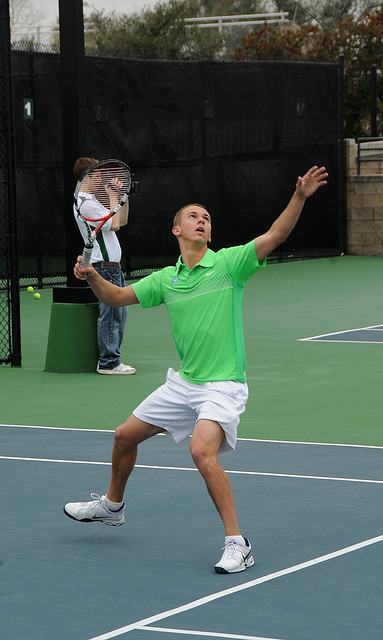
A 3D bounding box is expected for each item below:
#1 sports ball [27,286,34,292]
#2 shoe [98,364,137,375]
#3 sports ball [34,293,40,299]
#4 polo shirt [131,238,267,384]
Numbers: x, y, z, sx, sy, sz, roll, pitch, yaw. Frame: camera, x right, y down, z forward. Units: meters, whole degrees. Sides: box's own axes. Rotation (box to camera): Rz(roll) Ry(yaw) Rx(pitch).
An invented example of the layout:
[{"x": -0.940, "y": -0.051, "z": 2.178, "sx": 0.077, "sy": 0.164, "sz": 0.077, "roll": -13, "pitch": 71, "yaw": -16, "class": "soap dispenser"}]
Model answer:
[{"x": -3.912, "y": -0.762, "z": 15.816, "sx": 0.120, "sy": 0.118, "sz": 0.118, "roll": 7, "pitch": 37, "yaw": -5, "class": "sports ball"}, {"x": -0.928, "y": 0.599, "z": 8.107, "sx": 0.431, "sy": 0.169, "sz": 0.146, "roll": -2, "pitch": -3, "yaw": 14, "class": "shoe"}, {"x": -3.560, "y": -0.582, "z": 14.997, "sx": 0.122, "sy": 0.120, "sz": 0.121, "roll": -28, "pitch": -17, "yaw": -9, "class": "sports ball"}, {"x": 0.056, "y": -0.026, "z": 3.029, "sx": 0.669, "sy": 0.648, "sz": 0.267, "roll": -2, "pitch": 0, "yaw": 38, "class": "polo shirt"}]
